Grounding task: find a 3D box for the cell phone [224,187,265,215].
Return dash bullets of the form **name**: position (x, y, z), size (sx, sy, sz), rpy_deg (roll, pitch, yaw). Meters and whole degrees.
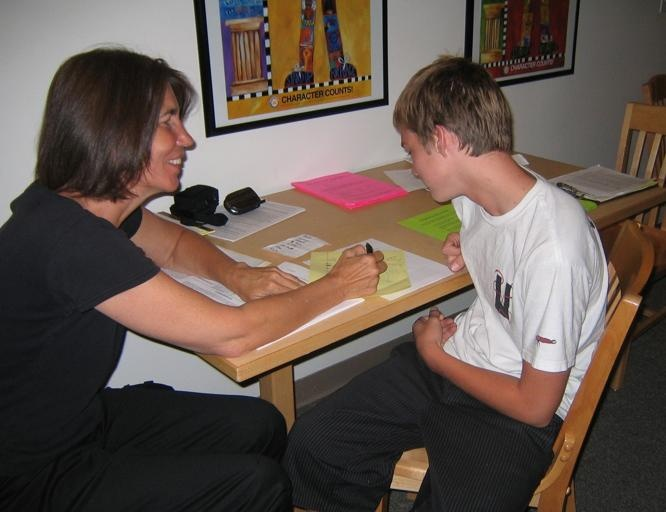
- **cell phone**: position (-0.327, -0.204, 1.784), size (0.119, 0.040, 0.085), rpy_deg (-16, 52, -33)
